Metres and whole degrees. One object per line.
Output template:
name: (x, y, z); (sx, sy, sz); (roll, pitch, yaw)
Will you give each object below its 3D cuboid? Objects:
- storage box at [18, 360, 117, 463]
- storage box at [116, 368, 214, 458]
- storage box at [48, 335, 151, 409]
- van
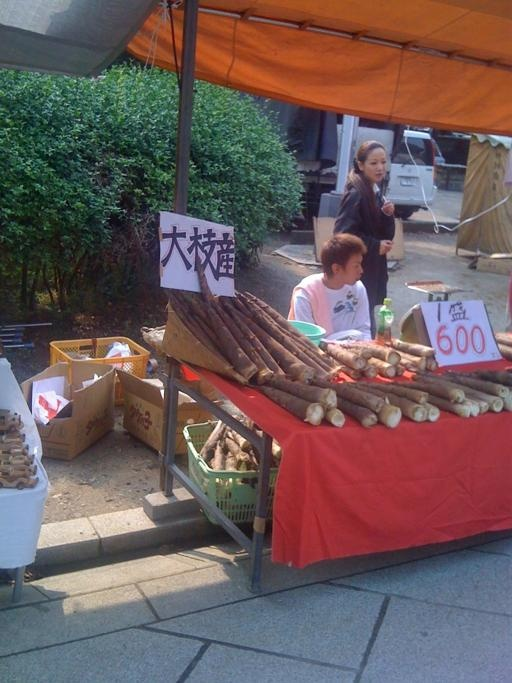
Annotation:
storage box: (-1.224, 0.437, 3.688); (0.458, 0.438, 0.573); (7, 17, 4)
storage box: (-0.599, 0.448, 3.862); (0.553, 0.416, 0.652); (-5, 12, -30)
storage box: (-1.210, 0.161, 4.366); (0.672, 0.365, 0.637); (-1, 10, -26)
van: (2.091, -3.657, 12.500); (1.975, 1.765, 3.284); (-13, 22, -39)
